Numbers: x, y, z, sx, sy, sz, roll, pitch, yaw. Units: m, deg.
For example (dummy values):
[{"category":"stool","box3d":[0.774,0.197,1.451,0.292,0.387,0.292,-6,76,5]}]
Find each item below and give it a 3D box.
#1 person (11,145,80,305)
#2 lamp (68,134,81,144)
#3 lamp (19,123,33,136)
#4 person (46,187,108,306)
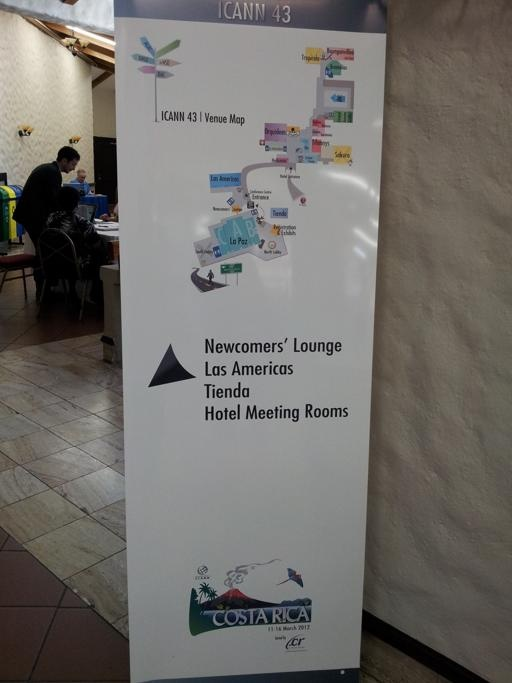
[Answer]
[{"category":"person","box3d":[-2.286,-1.375,6.262,0.672,1.534,0.525,5,9,-3]},{"category":"lamp","box3d":[-4.083,-4.565,12.920,0.199,0.278,0.267,2,4,-8]},{"category":"lamp","box3d":[-4.173,-3.811,10.360,0.237,0.254,0.151,-16,-8,40]},{"category":"person","box3d":[-1.742,-0.997,5.652,0.471,1.051,0.787,8,15,22]}]
